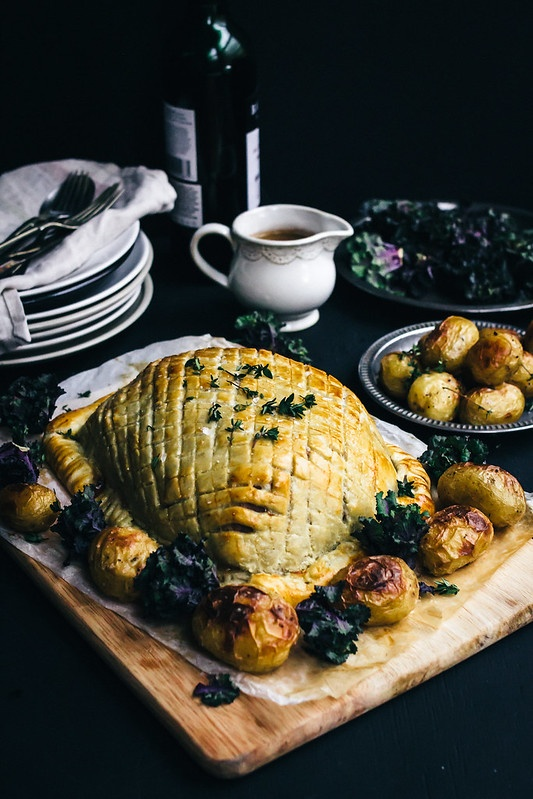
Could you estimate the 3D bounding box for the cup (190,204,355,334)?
[{"bbox_3d":[0.018,-0.281,1.694,0.354,0.222,0.220,-2,36,-2],"label":"cup"}]
